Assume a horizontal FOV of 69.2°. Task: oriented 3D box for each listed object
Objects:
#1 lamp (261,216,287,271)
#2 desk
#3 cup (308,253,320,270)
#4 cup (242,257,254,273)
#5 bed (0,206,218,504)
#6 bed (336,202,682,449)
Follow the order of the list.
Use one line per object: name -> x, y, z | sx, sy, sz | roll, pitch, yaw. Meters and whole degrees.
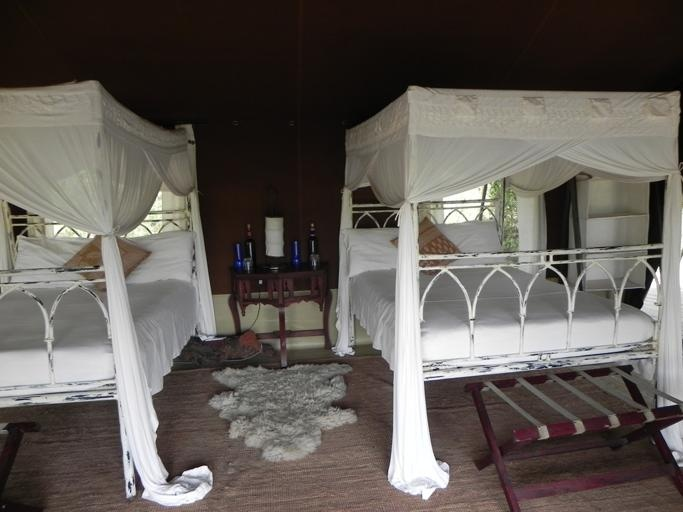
lamp -> -0.651, -0.135, 4.871 | 0.186, 0.517, 0.302 | -5, 5, -10
desk -> -0.625, 0.439, 5.090 | 1.162, 0.902, 0.945 | -2, 6, -13
cup -> -0.265, 0.055, 4.911 | 0.114, 0.142, 0.150 | 0, 1, 0
cup -> -0.903, 0.076, 4.812 | 0.095, 0.143, 0.190 | -5, 5, -20
bed -> -1.670, 0.734, 3.526 | 1.106, 1.106, 1.713 | -2, 48, -16
bed -> 1.216, 0.453, 4.208 | 2.031, 0.420, 1.992 | -3, 8, -11
